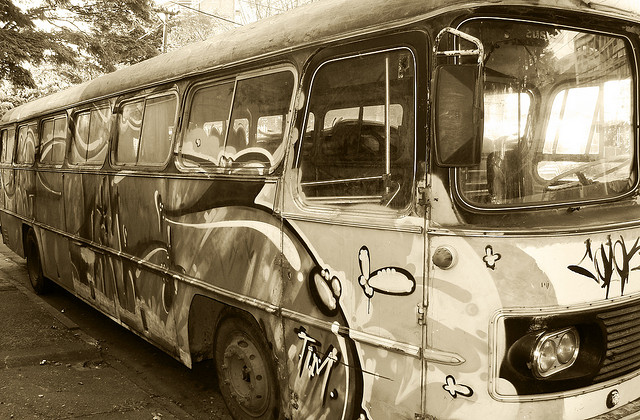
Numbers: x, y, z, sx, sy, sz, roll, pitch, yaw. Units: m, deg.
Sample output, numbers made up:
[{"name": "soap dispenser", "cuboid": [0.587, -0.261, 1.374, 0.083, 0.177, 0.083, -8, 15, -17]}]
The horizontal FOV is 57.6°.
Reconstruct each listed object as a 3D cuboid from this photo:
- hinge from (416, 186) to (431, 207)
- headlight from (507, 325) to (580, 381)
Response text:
[{"name": "hinge", "cuboid": [0.802, -0.104, 4.435, 0.112, 0.193, 0.122, 0, -1, 23]}, {"name": "headlight", "cuboid": [1.708, 1.071, 4.389, 0.623, 0.393, 0.096, -2, 11, -21]}]
